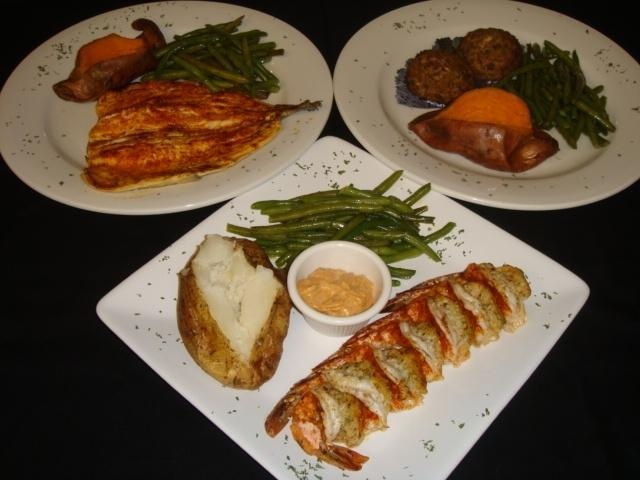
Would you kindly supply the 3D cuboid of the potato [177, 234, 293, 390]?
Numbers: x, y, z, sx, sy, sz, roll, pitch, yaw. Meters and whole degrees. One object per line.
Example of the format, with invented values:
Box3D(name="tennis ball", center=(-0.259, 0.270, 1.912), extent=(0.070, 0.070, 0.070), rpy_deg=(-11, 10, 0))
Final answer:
Box3D(name="potato", center=(-0.416, 0.314, 2.519), extent=(0.542, 0.189, 0.683), rpy_deg=(10, 79, 4))
